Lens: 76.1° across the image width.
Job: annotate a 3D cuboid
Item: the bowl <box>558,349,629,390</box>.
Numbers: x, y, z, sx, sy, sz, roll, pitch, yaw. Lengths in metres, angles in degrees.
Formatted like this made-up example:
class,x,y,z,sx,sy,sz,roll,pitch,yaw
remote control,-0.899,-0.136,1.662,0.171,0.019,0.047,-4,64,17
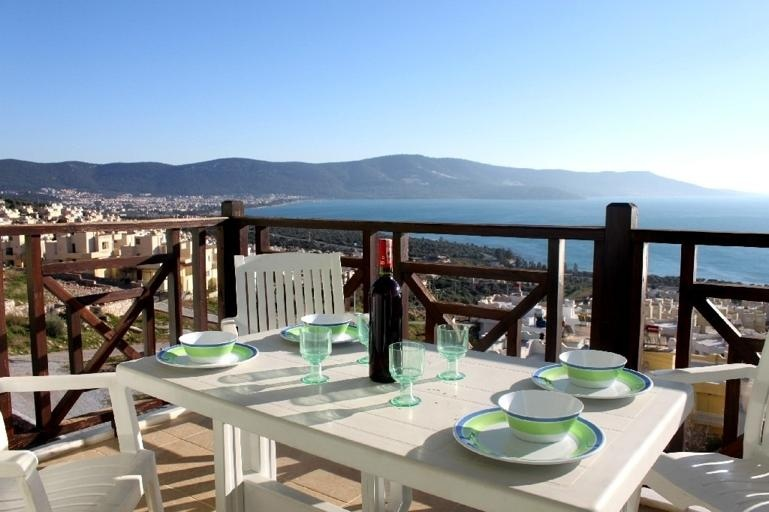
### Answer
class,x,y,z,sx,sy,sz,roll,pitch,yaw
bowl,0.629,0.348,1.502,0.213,0.075,0.207,-4,2,0

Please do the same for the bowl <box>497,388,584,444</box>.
class,x,y,z,sx,sy,sz,roll,pitch,yaw
bowl,0.372,0.410,1.239,0.231,0.075,0.225,13,-19,4

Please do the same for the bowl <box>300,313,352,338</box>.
class,x,y,z,sx,sy,sz,roll,pitch,yaw
bowl,-0.214,0.246,1.836,0.109,0.041,0.109,1,8,0

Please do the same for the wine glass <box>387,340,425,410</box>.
class,x,y,z,sx,sy,sz,roll,pitch,yaw
wine glass,0.063,0.332,1.394,0.145,0.158,0.141,0,-2,-4

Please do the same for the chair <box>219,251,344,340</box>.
class,x,y,z,sx,sy,sz,roll,pitch,yaw
chair,-0.525,0.187,2.734,0.508,0.684,0.485,0,0,-3
